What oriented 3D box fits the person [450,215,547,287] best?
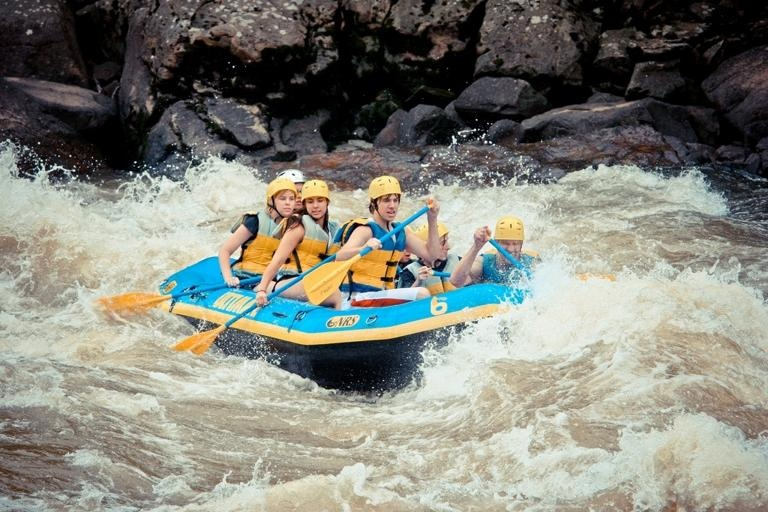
[{"bbox_3d":[1.574,-0.033,11.401,0.841,0.906,0.472,18,31,-15],"label":"person"}]

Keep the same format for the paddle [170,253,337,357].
[{"bbox_3d":[-1.586,0.674,10.761,2.241,0.365,0.107,-30,-28,-3],"label":"paddle"}]

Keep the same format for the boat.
[{"bbox_3d":[-0.912,0.678,10.617,3.159,0.856,1.823,1,5,38],"label":"boat"}]

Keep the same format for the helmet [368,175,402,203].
[{"bbox_3d":[0.004,-0.804,10.615,0.313,0.361,0.267,5,32,-22],"label":"helmet"}]

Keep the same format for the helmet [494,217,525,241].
[{"bbox_3d":[1.620,-0.365,10.878,0.295,0.335,0.287,2,16,7],"label":"helmet"}]

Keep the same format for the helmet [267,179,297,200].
[{"bbox_3d":[-1.367,-0.891,11.142,0.264,0.322,0.263,-1,8,-21],"label":"helmet"}]

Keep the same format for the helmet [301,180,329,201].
[{"bbox_3d":[-0.890,-0.828,10.866,0.254,0.238,0.311,-1,-31,-4],"label":"helmet"}]
